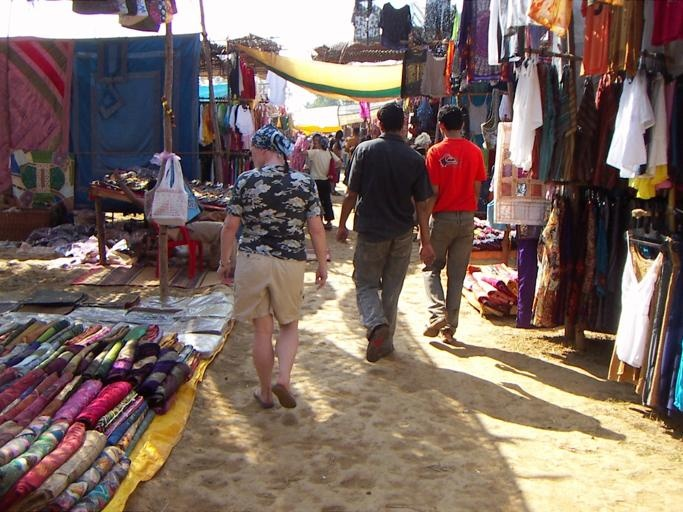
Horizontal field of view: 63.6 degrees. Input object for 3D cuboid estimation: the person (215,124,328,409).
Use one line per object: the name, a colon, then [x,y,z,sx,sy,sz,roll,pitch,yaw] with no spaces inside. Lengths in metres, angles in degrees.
person: [-0.561,0.119,4.369,0.732,2.221,0.672,9,16,28]

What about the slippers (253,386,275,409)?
slippers: [-0.652,1.183,4.564,0.088,0.084,0.205,6,28,-34]

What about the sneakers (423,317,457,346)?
sneakers: [1.044,0.778,5.744,0.192,0.216,0.437,5,-4,-3]

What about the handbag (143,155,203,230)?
handbag: [-2.013,-0.737,6.386,0.534,0.900,0.576,-3,15,-17]

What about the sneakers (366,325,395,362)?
sneakers: [0.347,0.810,5.207,0.183,0.431,0.187,4,46,-7]

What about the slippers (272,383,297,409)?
slippers: [-0.444,1.069,4.265,0.125,0.266,0.104,-9,25,16]
